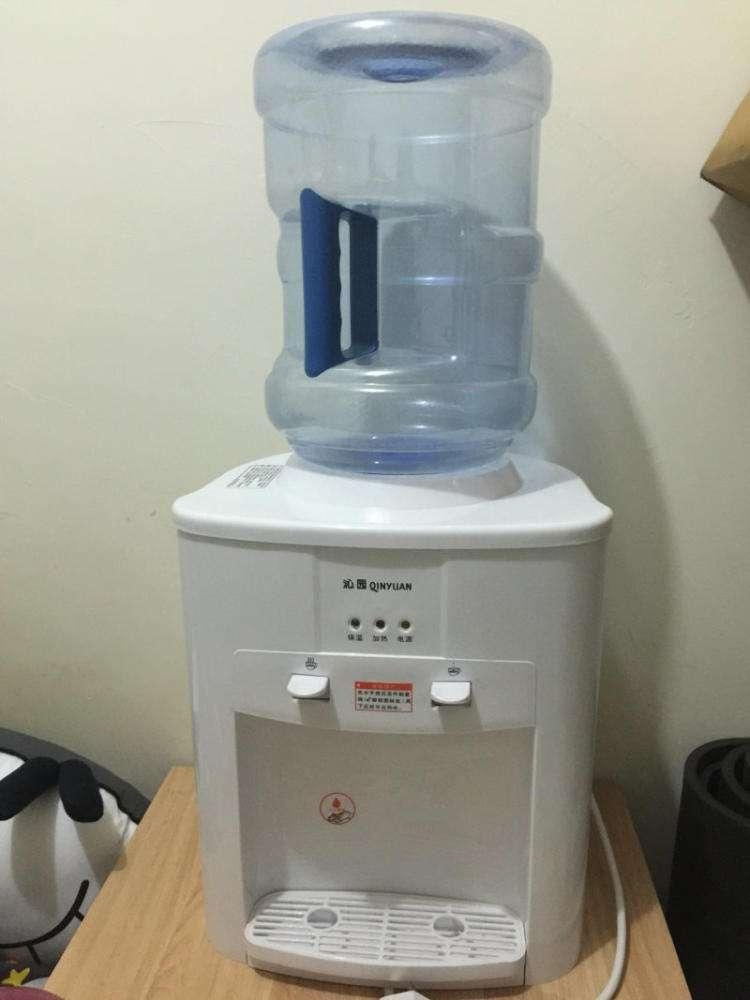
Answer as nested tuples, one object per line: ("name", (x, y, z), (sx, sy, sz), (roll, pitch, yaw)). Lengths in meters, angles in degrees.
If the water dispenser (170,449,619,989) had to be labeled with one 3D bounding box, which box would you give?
("water dispenser", (0.008, 0.170, 1.190), (0.440, 0.559, 0.454), (0, 14, 6))
